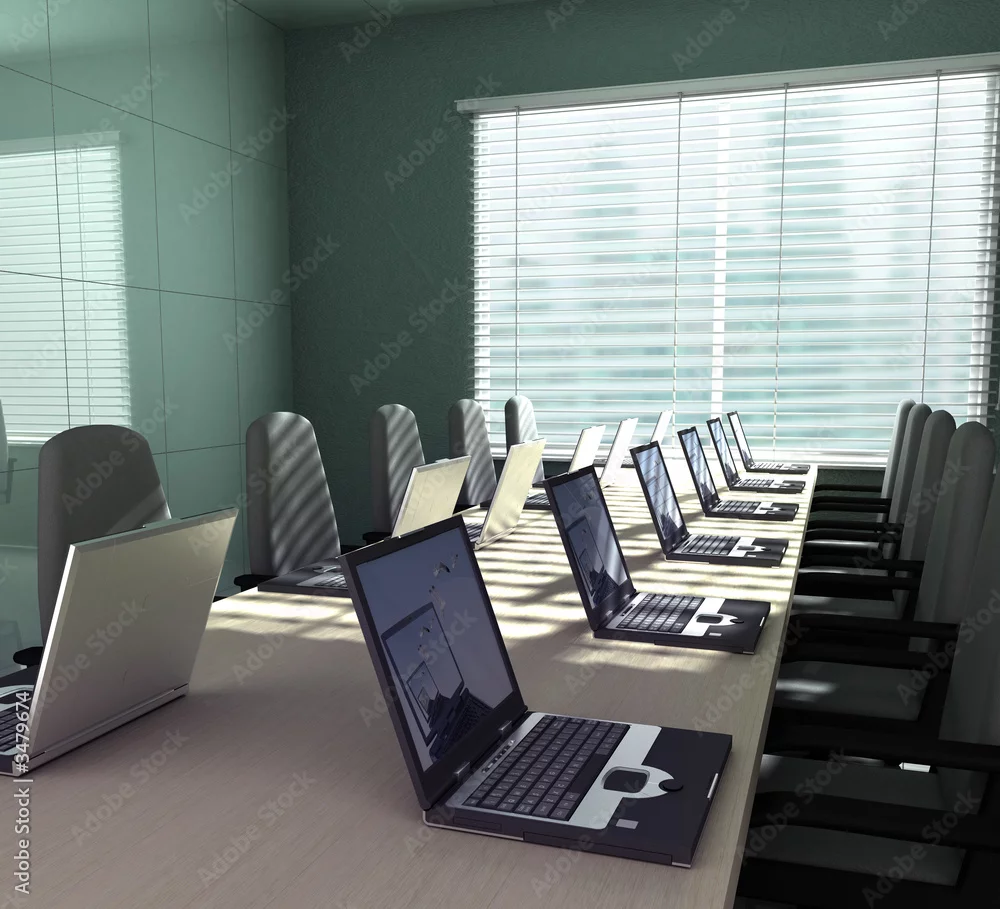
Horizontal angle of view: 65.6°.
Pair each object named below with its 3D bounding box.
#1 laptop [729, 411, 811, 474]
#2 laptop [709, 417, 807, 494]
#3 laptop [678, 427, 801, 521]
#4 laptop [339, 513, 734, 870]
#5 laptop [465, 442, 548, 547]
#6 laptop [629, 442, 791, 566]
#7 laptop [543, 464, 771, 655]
[{"bbox_3d":[1.513,-0.131,4.442,0.393,0.313,0.401,2,6,21],"label":"laptop"},{"bbox_3d":[1.235,0.066,3.836,0.382,0.312,0.488,0,4,18],"label":"laptop"},{"bbox_3d":[0.955,0.112,3.115,0.370,0.335,0.455,0,4,20],"label":"laptop"},{"bbox_3d":[0.076,0.211,0.969,0.367,0.288,0.372,2,6,22],"label":"laptop"},{"bbox_3d":[0.044,0.128,2.701,0.276,0.284,0.402,8,9,22],"label":"laptop"},{"bbox_3d":[0.629,0.193,2.363,0.364,0.327,0.445,-1,2,21],"label":"laptop"},{"bbox_3d":[0.373,0.177,1.634,0.428,0.322,0.424,14,35,37],"label":"laptop"}]
